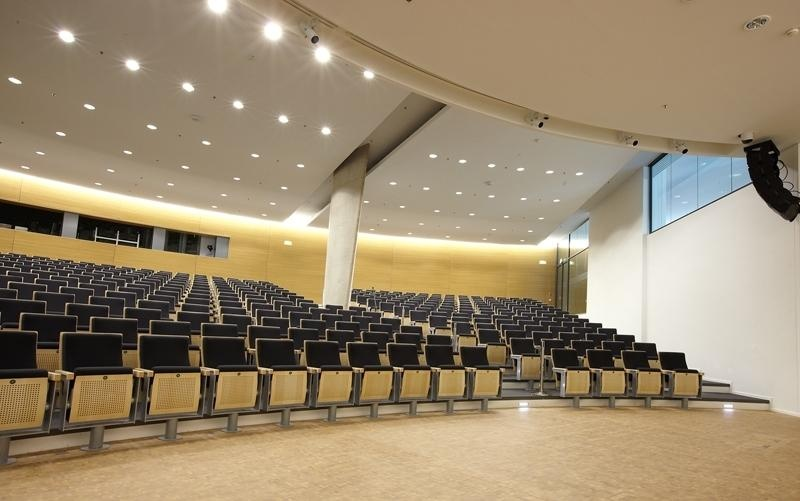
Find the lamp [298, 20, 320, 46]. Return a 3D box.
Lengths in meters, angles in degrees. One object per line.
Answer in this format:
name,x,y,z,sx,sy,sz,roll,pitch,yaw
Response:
lamp,-1.520,-3.704,8.243,0.360,0.256,0.094,57,-8,-28

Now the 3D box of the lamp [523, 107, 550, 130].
lamp,2.847,-2.703,10.121,0.560,0.354,0.161,3,6,-21

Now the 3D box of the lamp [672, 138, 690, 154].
lamp,6.212,-2.316,10.826,0.334,0.280,0.113,6,6,7

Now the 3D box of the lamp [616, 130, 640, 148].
lamp,5.015,-2.431,10.699,0.463,0.335,0.173,6,6,9
